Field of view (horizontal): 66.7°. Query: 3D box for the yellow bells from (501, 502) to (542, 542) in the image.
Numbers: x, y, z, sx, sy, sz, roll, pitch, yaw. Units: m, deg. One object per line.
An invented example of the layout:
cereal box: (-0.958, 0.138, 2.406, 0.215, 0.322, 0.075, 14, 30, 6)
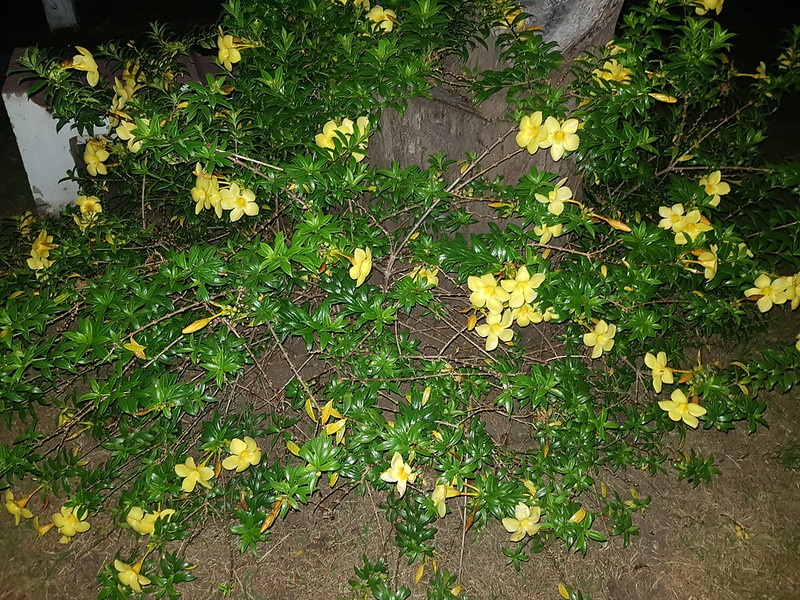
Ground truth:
yellow bells: (0.567, 0.999, 2.824, 0.165, 0.072, 0.195, 18, 90, 4)

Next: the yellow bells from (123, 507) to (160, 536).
yellow bells: (-1.200, 1.024, 2.843, 0.054, 0.144, 0.123, -49, 58, 3)

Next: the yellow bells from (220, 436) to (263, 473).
yellow bells: (-0.714, 0.699, 2.800, 0.164, 0.181, 0.047, -34, 27, -10)

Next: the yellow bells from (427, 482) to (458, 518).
yellow bells: (0.181, 0.923, 2.791, 0.066, 0.158, 0.165, 21, 43, -15)

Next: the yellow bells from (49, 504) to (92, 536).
yellow bells: (-1.558, 1.053, 2.867, 0.152, 0.171, 0.127, -19, 50, -23)

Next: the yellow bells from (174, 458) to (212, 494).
yellow bells: (-0.933, 0.791, 2.768, 0.168, 0.190, 0.070, 3, 14, -13)
